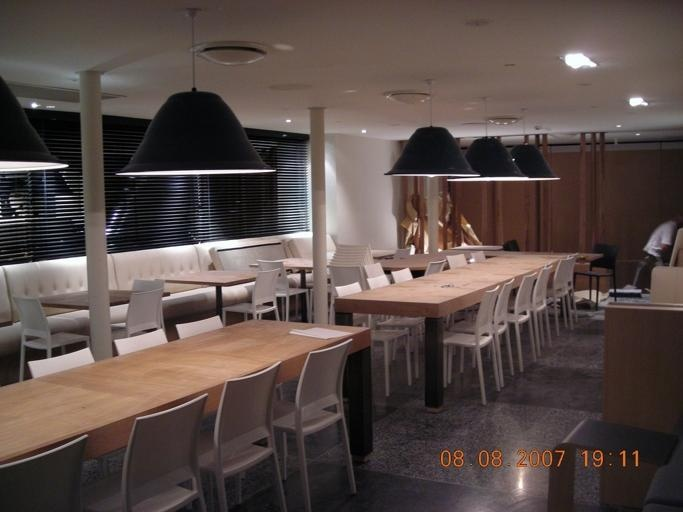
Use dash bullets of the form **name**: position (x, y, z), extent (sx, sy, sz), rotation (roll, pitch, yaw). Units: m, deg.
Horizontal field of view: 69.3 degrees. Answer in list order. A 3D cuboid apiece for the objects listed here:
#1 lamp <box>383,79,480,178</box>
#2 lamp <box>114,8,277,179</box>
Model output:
- **lamp**: position (0.925, -1.217, 5.203), extent (0.702, 0.707, 0.630), rotation (-2, 4, -14)
- **lamp**: position (-0.826, -0.800, 2.736), extent (0.637, 0.651, 0.587), rotation (-6, 6, -37)
